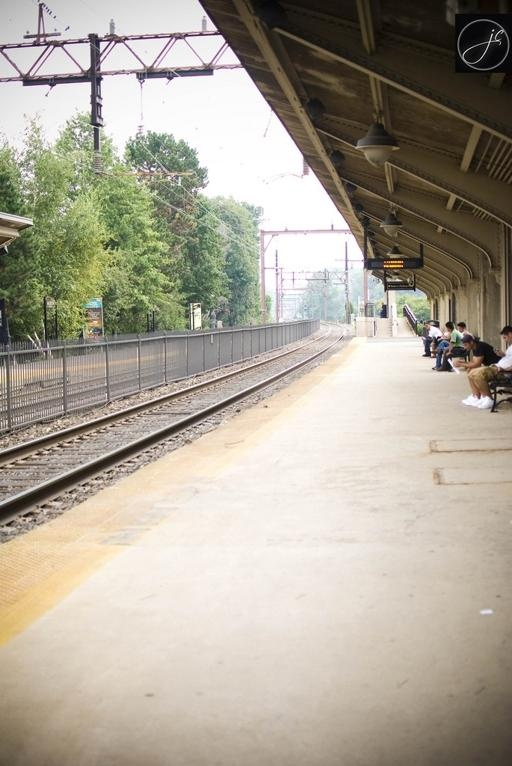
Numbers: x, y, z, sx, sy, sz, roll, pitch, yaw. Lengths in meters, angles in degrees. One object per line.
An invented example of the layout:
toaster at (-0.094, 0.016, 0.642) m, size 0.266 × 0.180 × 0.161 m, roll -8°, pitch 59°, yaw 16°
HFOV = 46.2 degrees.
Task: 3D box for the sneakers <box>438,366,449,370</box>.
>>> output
sneakers at (6.083, -0.470, 19.424) m, size 0.306 × 0.170 × 0.284 m, roll -1°, pitch 1°, yaw 14°

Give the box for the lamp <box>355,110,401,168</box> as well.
lamp at (1.882, -3.683, 9.244) m, size 0.636 × 0.684 × 0.643 m, roll 5°, pitch 15°, yaw 25°
